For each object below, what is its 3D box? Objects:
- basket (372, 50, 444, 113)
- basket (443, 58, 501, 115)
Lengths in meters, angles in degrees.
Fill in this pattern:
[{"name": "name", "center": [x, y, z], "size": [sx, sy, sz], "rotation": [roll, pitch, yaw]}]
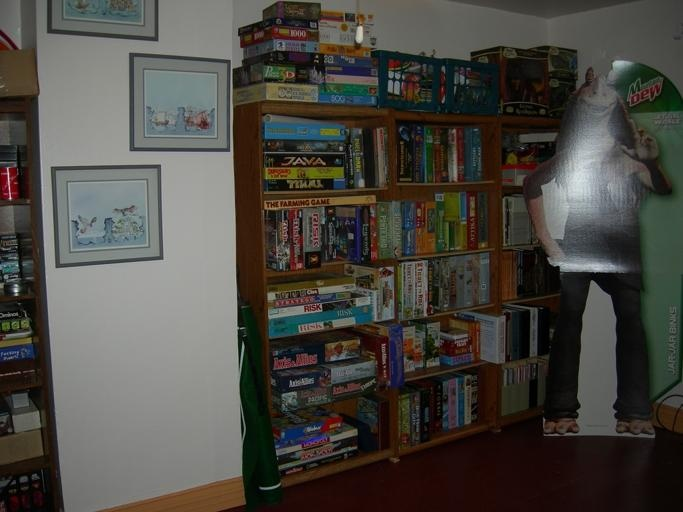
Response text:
[{"name": "basket", "center": [0.431, -1.139, 3.919], "size": [0.614, 0.372, 0.391], "rotation": [-5, 8, -40]}, {"name": "basket", "center": [0.882, -1.163, 4.198], "size": [0.372, 0.410, 0.291], "rotation": [-1, 14, -17]}]
